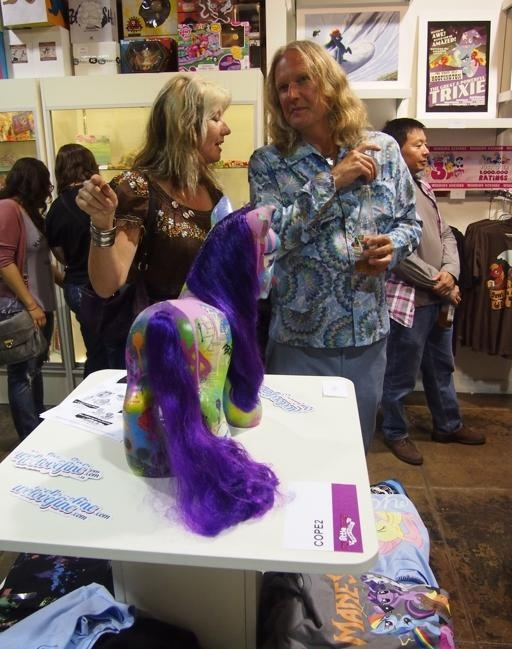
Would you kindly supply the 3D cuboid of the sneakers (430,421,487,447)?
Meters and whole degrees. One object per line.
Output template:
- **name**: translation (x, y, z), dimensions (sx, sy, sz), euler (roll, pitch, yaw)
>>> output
- **sneakers**: translation (1.212, 0.656, 2.951), dimensions (0.272, 0.104, 0.121), euler (-2, 11, 5)

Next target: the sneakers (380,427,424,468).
- **sneakers**: translation (0.852, 0.714, 2.823), dimensions (0.088, 0.079, 0.227), euler (-10, 14, -19)

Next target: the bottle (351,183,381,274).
- **bottle**: translation (0.312, -0.280, 1.423), dimensions (0.064, 0.250, 0.169), euler (1, 13, 12)

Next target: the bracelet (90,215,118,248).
- **bracelet**: translation (-0.356, -0.217, 1.154), dimensions (0.057, 0.045, 0.063), euler (2, 28, -6)

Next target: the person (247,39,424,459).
- **person**: translation (0.271, -0.136, 1.532), dimensions (0.517, 1.250, 0.441), euler (-7, 16, -10)

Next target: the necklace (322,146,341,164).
- **necklace**: translation (0.233, -0.521, 1.512), dimensions (0.053, 0.066, 0.072), euler (6, 39, 13)
